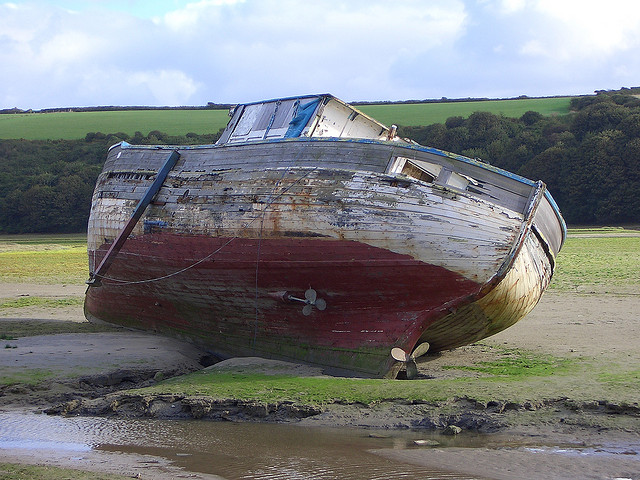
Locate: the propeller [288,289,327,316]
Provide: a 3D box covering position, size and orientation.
[{"bbox_3d":[-0.264,1.306,12.734,0.828,0.574,0.047,2,16,17],"label":"propeller"}]

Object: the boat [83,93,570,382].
[{"bbox_3d":[-0.318,0.194,13.429,8.742,4.920,2.764,4,15,28],"label":"boat"}]

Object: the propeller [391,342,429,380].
[{"bbox_3d":[1.746,2.400,12.104,0.455,0.600,0.835,4,12,24],"label":"propeller"}]
